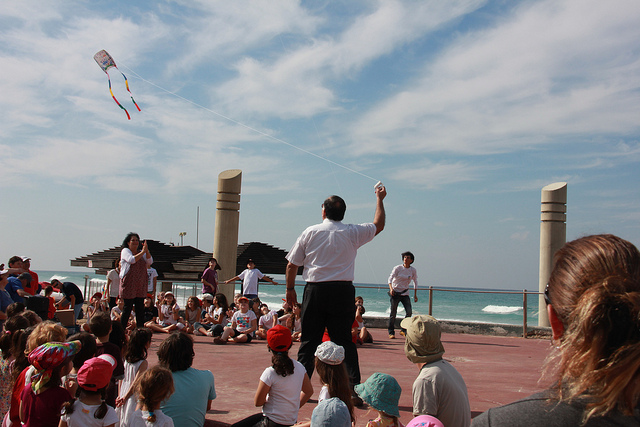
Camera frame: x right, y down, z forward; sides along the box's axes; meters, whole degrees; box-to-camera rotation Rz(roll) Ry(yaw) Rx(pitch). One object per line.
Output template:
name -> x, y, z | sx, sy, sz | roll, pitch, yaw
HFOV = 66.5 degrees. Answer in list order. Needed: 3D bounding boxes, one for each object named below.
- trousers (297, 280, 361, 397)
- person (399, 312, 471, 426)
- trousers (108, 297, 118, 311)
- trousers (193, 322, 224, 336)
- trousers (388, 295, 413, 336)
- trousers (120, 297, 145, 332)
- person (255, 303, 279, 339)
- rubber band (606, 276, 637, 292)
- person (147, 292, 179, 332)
trousers -> 0.095, 1.326, 5.196 | 0.649, 1.210, 0.419 | 0, -7, 3
person -> 0.813, 1.072, 3.426 | 0.432, 0.694, 0.440 | 1, -7, -2
trousers -> -4.104, 1.752, 9.611 | 0.130, 0.243, 0.638 | 3, -7, -23
trousers -> -2.654, 2.720, 11.572 | 0.315, 0.245, 0.985 | 7, -9, -43
trousers -> 1.905, 2.416, 11.617 | 0.507, 1.001, 1.090 | 0, -7, 8
trousers -> -3.429, 1.789, 8.839 | 0.323, 0.546, 1.059 | 2, -7, -10
person -> -1.314, 2.540, 11.676 | 0.628, 0.793, 0.640 | -16, -8, -15
rubber band -> 0.994, 0.227, 1.582 | 0.059, 0.013, 0.055 | 20, 2, -5
person -> -3.825, 2.394, 11.964 | 0.723, 0.923, 0.837 | -1, -8, 38
